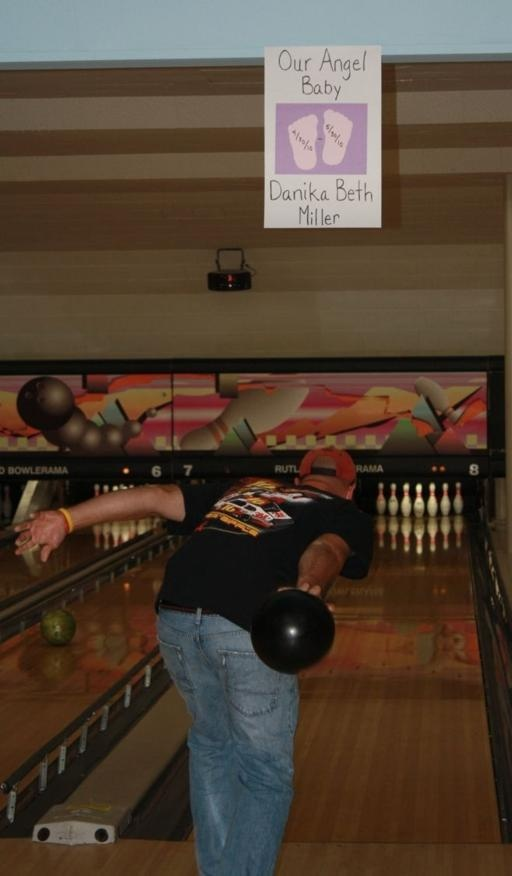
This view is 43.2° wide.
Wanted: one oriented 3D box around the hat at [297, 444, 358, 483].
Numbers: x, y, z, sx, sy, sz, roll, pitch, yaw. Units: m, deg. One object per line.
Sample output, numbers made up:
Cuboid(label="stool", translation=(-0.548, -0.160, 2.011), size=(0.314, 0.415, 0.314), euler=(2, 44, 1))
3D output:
Cuboid(label="hat", translation=(0.163, 0.050, 1.390), size=(0.068, 0.062, 0.101), euler=(9, 4, 21))

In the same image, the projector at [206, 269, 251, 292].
Cuboid(label="projector", translation=(-0.202, -1.247, 5.086), size=(0.300, 0.161, 0.261), euler=(0, 1, 6))
